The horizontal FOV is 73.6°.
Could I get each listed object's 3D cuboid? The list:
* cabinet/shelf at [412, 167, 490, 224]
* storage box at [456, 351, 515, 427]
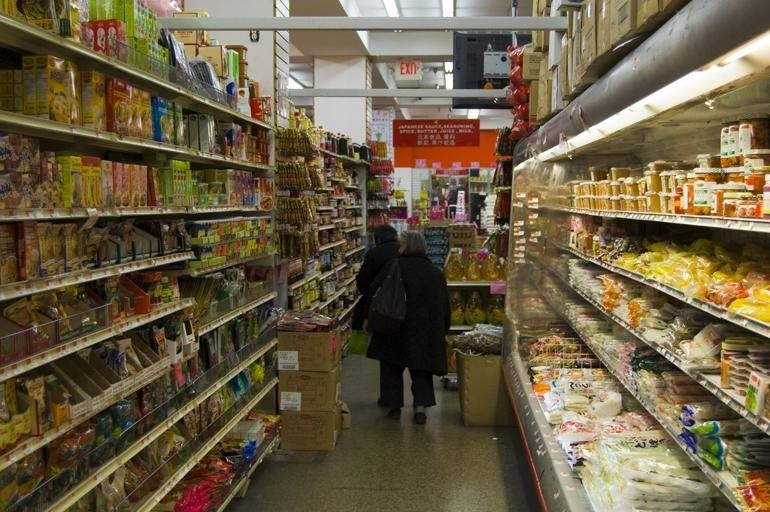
[{"bbox_3d":[2.029,-1.782,15.440,2.112,2.287,0.808,0,-18,-1],"label":"cabinet/shelf"},{"bbox_3d":[1.042,1.321,5.441,0.577,0.733,1.062,-1,1,4],"label":"storage box"}]
